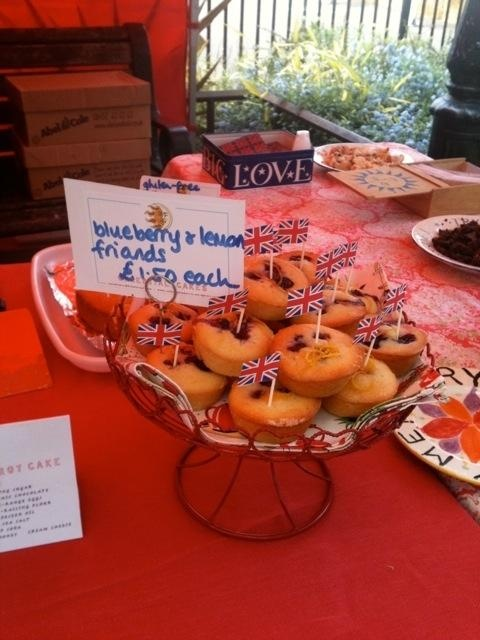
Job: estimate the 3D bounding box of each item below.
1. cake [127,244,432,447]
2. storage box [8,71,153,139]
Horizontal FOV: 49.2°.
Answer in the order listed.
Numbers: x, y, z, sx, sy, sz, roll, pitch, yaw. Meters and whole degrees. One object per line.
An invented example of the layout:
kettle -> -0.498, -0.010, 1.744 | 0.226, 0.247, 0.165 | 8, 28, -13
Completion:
cake -> 0.041, 0.038, 0.555 | 0.276, 0.082, 0.233 | -1, 40, -1
storage box -> -0.571, -0.758, 1.897 | 0.418, 0.158, 0.371 | -11, 38, -22
